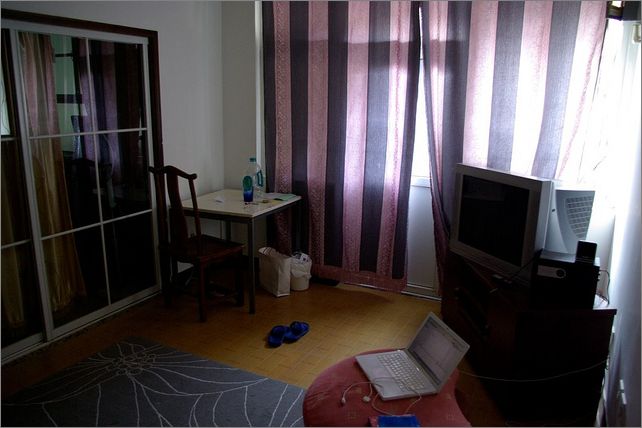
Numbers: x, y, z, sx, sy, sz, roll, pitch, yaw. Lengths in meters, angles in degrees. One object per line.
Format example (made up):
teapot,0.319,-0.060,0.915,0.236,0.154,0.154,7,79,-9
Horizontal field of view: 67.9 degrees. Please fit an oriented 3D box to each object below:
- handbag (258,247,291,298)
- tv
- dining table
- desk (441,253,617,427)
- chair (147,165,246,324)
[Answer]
handbag,-0.521,0.616,5.097,0.169,0.412,0.460,-8,15,-34
tv,1.616,0.062,3.998,0.560,0.846,1.011,-4,14,-23
dining table,-0.856,0.327,5.186,1.137,1.159,1.173,8,14,35
desk,1.590,0.523,3.850,0.911,1.185,1.828,3,12,7
chair,-1.264,0.194,4.699,0.689,1.456,0.895,-17,24,-40
